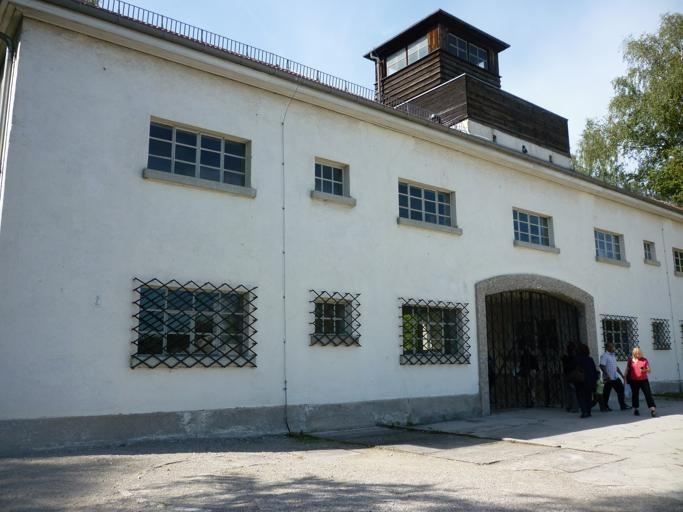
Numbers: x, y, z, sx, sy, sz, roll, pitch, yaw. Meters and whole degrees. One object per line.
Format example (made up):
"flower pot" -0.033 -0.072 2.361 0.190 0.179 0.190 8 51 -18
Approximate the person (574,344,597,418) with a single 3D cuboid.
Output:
"person" 6.772 3.408 15.853 0.537 1.850 1.416 -1 -6 25
